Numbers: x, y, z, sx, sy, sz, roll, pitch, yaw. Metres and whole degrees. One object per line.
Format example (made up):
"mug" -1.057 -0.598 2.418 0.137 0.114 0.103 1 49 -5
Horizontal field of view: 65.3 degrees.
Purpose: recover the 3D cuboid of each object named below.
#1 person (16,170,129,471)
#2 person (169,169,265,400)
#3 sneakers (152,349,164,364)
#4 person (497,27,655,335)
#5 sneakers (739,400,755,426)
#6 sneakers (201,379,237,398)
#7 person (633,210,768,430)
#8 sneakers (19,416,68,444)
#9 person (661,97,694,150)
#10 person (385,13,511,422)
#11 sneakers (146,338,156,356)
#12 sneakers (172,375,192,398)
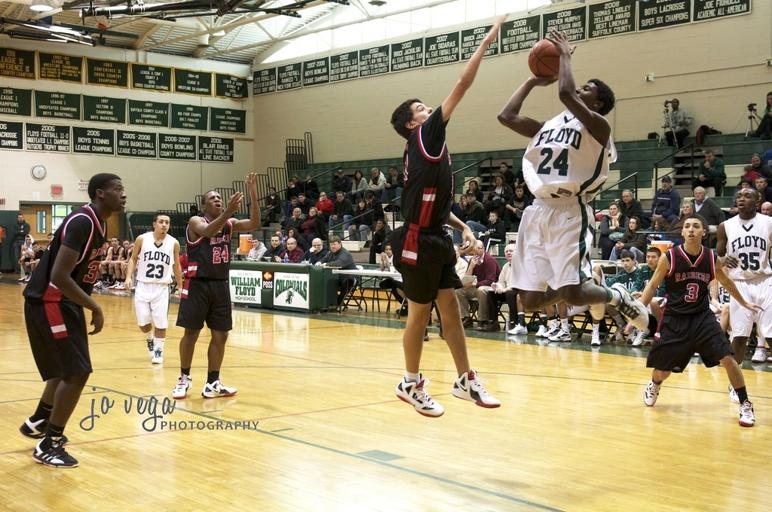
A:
"person" -2.714 0.524 5.254 0.740 2.525 0.945 -1 3 -31
"person" -2.034 0.369 7.180 1.006 2.670 0.854 0 2 -12
"sneakers" -3.433 1.519 9.118 0.154 0.222 0.269 -1 3 -22
"person" 1.573 -0.704 5.318 1.125 2.469 0.864 1 3 17
"sneakers" 3.841 1.683 6.405 0.127 0.164 0.385 -4 -4 21
"sneakers" -2.010 1.610 7.377 0.461 0.219 0.175 1 -1 -22
"person" 3.436 0.686 6.687 1.100 2.194 0.666 1 3 22
"sneakers" -3.087 1.611 5.627 0.551 0.233 0.216 9 -1 -30
"person" 7.991 -3.487 16.578 0.766 1.432 0.690 -9 13 -17
"person" 0.485 -0.247 5.246 0.908 3.485 0.720 1 2 8
"sneakers" -3.772 1.478 9.740 0.116 0.348 0.134 -7 3 -34
"sneakers" -2.437 1.579 7.247 0.126 0.153 0.355 -1 1 -4
